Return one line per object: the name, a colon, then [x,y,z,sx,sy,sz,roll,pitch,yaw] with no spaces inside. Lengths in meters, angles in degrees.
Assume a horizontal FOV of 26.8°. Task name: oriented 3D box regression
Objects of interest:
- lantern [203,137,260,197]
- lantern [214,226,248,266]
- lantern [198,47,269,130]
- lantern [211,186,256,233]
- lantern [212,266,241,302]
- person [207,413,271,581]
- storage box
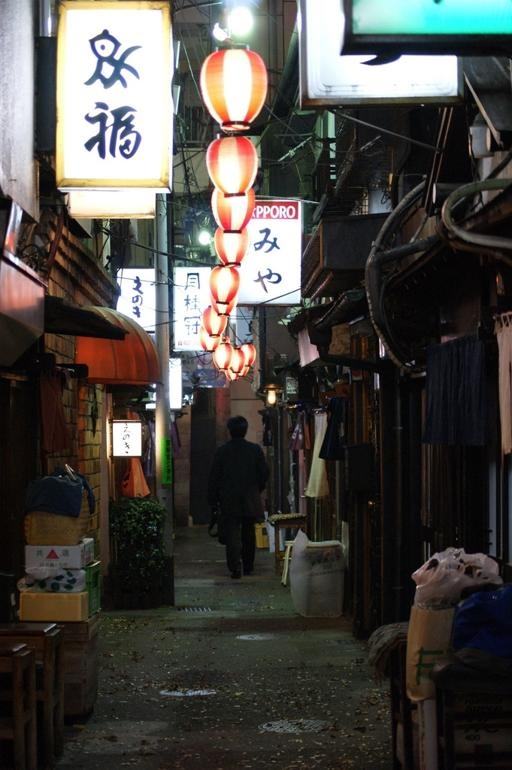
lantern: [-0.174,-1.595,7.813,0.364,0.491,0.392,-3,11,1]
lantern: [-0.248,-1.151,8.999,0.272,0.359,0.280,0,2,43]
lantern: [-0.228,-2.160,7.786,0.512,0.625,0.505,-1,-2,-24]
lantern: [-0.179,-1.323,8.166,0.291,0.373,0.321,2,8,27]
lantern: [-0.365,-1.083,11.687,0.325,0.438,0.347,0,1,24]
person: [-0.298,1.874,18.113,0.968,2.777,1.450,-1,-5,-1]
storage box: [-1.544,1.375,8.310,0.577,0.983,1.073,-1,-4,0]
